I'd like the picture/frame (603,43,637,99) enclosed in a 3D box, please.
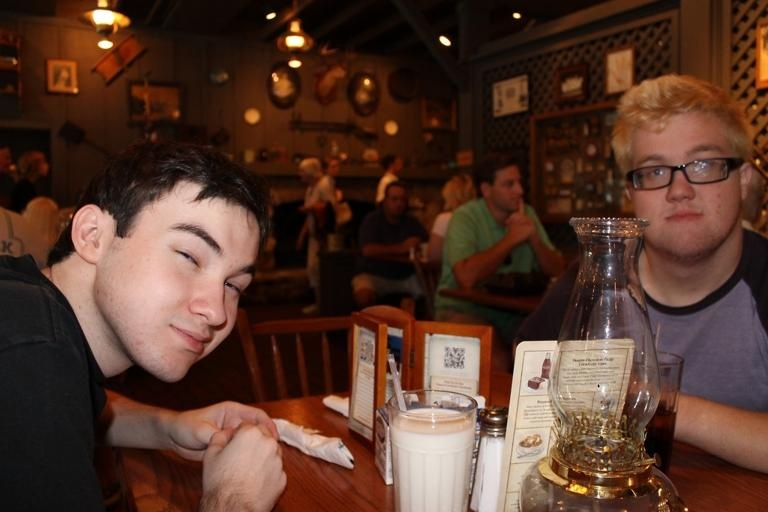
[{"bbox_3d":[1.649,-1.306,4.190,0.284,0.324,0.033,-21,27,-21],"label":"picture/frame"}]

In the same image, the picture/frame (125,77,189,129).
[{"bbox_3d":[-1.598,-1.070,4.148,0.390,0.284,0.050,-1,2,-27],"label":"picture/frame"}]

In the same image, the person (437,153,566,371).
[{"bbox_3d":[0.711,0.037,3.569,0.786,1.229,0.865,-7,7,-27],"label":"person"}]

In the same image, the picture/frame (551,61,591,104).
[{"bbox_3d":[1.414,-1.318,4.463,0.042,0.307,0.304,-12,13,-37],"label":"picture/frame"}]

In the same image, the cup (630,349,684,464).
[{"bbox_3d":[0.635,0.365,1.345,0.066,0.265,0.064,2,2,0],"label":"cup"}]

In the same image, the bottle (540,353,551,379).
[{"bbox_3d":[0.356,0.244,1.311,0.021,0.059,0.009,3,2,9],"label":"bottle"}]
